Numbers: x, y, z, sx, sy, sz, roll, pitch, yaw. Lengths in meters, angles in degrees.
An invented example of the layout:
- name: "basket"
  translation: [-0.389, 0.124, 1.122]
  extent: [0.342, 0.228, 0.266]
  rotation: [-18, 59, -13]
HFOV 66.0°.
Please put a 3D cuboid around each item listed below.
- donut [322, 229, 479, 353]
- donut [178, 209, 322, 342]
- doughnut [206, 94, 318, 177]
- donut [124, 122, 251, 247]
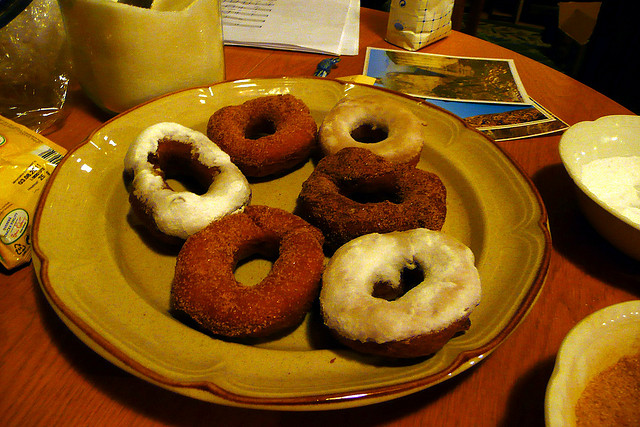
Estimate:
- name: "donut"
  translation: [0.170, 0.168, 1.084]
  extent: [0.333, 0.107, 0.281]
  rotation: [0, 55, 0]
- name: "donut"
  translation: [-0.159, 0.131, 1.139]
  extent: [0.321, 0.090, 0.306]
  rotation: [-4, 55, -3]
- name: "doughnut"
  translation: [-0.157, -0.223, 1.359]
  extent: [0.269, 0.094, 0.257]
  rotation: [-19, 50, -16]
- name: "donut"
  translation: [-0.347, -0.033, 1.302]
  extent: [0.271, 0.132, 0.367]
  rotation: [-28, 61, -25]
